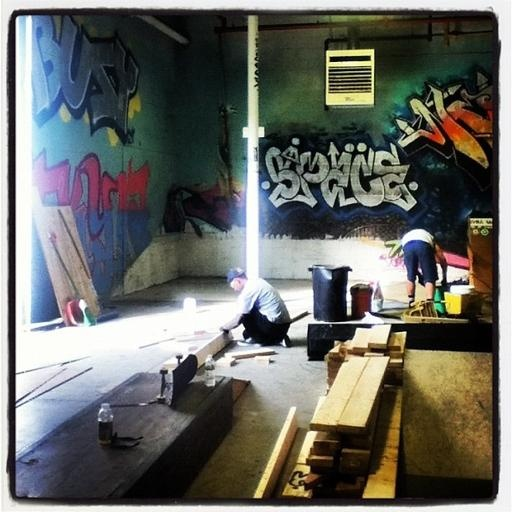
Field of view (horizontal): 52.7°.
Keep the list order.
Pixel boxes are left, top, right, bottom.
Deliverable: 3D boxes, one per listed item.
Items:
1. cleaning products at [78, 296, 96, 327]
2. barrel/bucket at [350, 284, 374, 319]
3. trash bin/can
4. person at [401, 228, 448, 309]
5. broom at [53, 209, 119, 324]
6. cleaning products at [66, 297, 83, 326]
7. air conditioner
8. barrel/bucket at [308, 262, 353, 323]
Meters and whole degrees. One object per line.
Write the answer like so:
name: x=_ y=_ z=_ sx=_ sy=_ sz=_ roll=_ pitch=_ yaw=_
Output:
cleaning products: x=-2.810 y=0.986 z=8.614 sx=0.165 sy=0.611 sz=0.244 roll=-10 pitch=-10 yaw=-19
barrel/bucket: x=1.880 y=0.821 z=9.173 sx=0.372 sy=0.666 sz=0.407 roll=-1 pitch=1 yaw=0
trash bin/can: x=1.435 y=0.608 z=8.955 sx=0.860 sy=1.232 sz=0.735 roll=-1 pitch=3 yaw=-27
person: x=3.535 y=0.326 z=10.866 sx=0.619 sy=0.968 sz=1.696 roll=-16 pitch=31 yaw=29
broom: x=-3.094 y=0.113 z=8.764 sx=0.660 sy=1.928 sz=1.027 roll=-4 pitch=6 yaw=-8
cleaning products: x=-2.969 y=0.913 z=8.450 sx=0.130 sy=0.443 sz=0.225 roll=-4 pitch=3 yaw=41
air conditioner: x=2.252 y=-4.193 z=12.131 sx=1.172 sy=1.330 sz=0.677 roll=-1 pitch=9 yaw=10
barrel/bucket: x=1.283 y=0.588 z=9.164 sx=0.682 sy=1.060 sz=0.628 roll=0 pitch=2 yaw=0
